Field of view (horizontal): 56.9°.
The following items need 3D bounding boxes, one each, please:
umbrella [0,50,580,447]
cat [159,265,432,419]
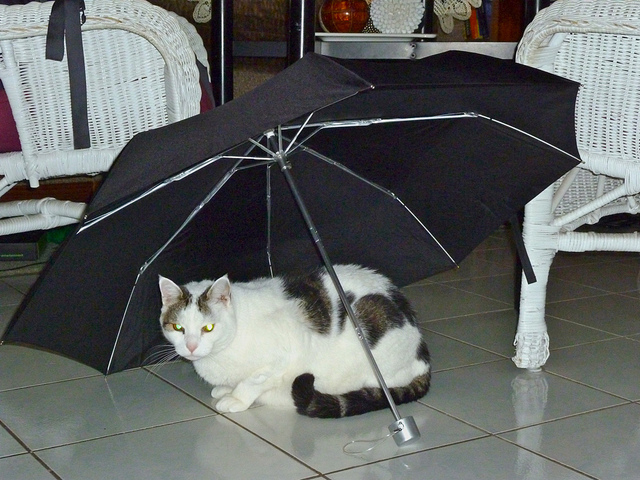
[{"bbox_3d":[-0.031,-0.013,1.446,1.270,0.882,0.784,3,13,13],"label":"umbrella"},{"bbox_3d":[-0.063,0.246,1.579,0.615,0.282,0.361,-5,0,-18],"label":"cat"}]
